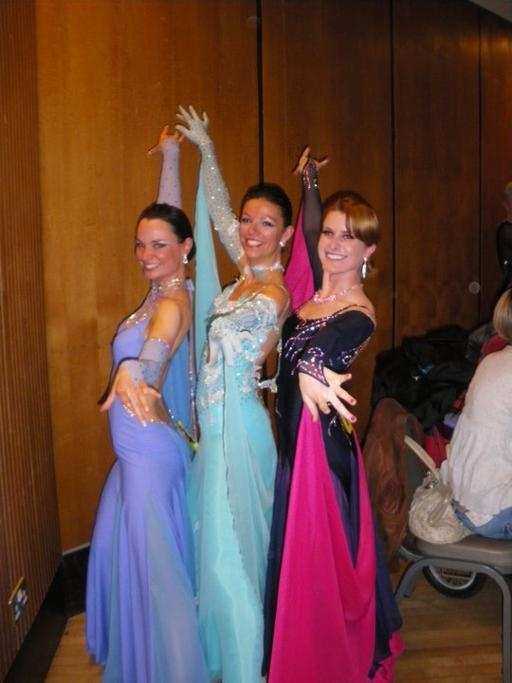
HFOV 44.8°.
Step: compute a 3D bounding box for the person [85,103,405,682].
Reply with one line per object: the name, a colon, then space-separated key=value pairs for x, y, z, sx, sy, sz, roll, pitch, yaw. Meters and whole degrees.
person: x=0.006 y=0.128 z=1.989 sx=0.828 sy=2.020 sz=0.858 roll=-1 pitch=3 yaw=20
